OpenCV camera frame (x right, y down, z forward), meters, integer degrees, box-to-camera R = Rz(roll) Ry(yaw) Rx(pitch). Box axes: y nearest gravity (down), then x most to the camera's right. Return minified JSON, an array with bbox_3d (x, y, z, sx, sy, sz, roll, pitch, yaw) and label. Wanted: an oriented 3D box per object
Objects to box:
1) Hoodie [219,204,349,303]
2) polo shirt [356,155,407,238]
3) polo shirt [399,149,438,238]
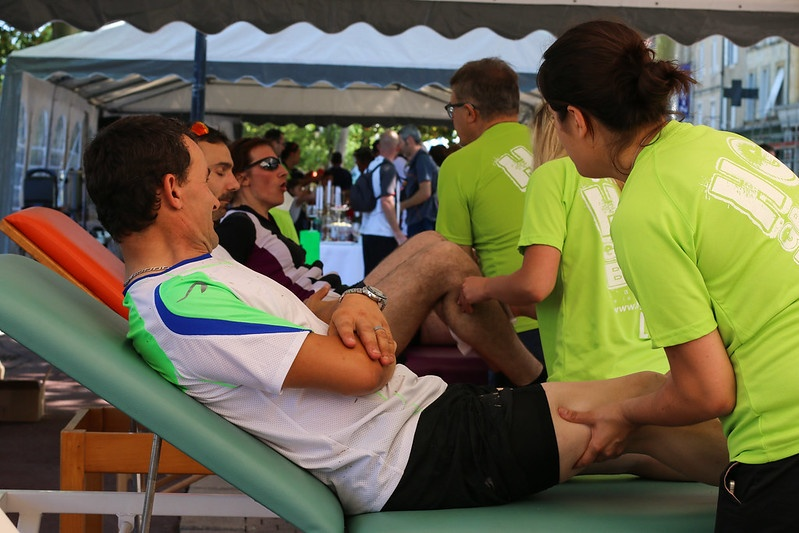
[{"bbox_3d":[-0.679,-0.075,5.166,0.665,0.282,0.555,30,6,-3],"label":"Hoodie"},{"bbox_3d":[-0.186,-0.772,9.610,0.408,0.804,0.638,6,14,-13],"label":"polo shirt"},{"bbox_3d":[0.219,-0.811,9.753,0.337,0.955,0.625,-1,9,-2],"label":"polo shirt"}]
